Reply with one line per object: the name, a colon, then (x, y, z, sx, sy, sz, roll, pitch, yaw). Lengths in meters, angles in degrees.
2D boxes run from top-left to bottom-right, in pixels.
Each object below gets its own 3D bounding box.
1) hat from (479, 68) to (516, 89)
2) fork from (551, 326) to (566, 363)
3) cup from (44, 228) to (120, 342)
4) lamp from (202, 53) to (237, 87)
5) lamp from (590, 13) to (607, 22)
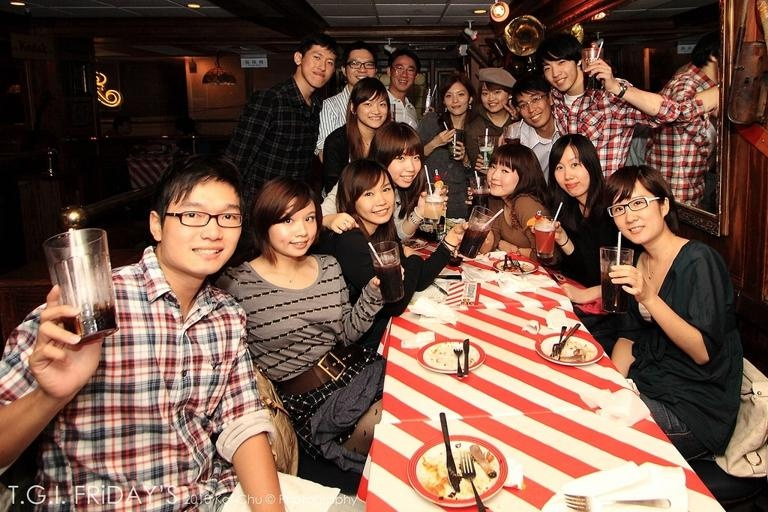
hat: (1.094, -1.740, 4.733, 0.317, 0.089, 0.284, 12, 18, 5)
fork: (0.826, 0.425, 2.302, 0.044, 0.034, 0.294, -6, 29, 30)
cup: (-1.016, 0.091, 1.653, 0.179, 0.337, 0.268, -11, 16, -29)
lamp: (-2.602, -2.918, 7.677, 0.456, 0.451, 0.436, -2, 10, 1)
lamp: (2.112, -2.355, 4.787, 0.070, 0.033, 0.090, -5, -4, -5)
